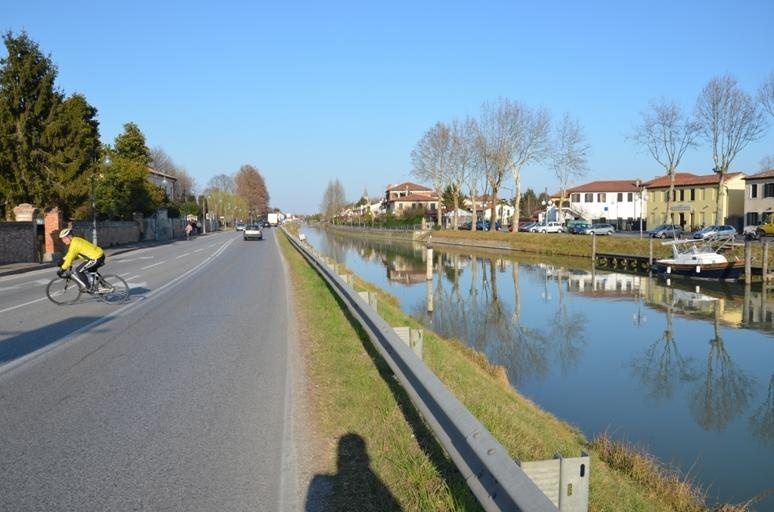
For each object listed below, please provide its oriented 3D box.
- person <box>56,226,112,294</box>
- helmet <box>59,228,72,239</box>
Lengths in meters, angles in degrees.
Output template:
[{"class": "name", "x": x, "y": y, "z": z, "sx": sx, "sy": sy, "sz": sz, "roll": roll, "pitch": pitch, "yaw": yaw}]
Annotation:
[{"class": "person", "x": -9.358, "y": 0.139, "z": 18.279, "sx": 1.176, "sy": 1.976, "sz": 0.883, "roll": -3, "pitch": 9, "yaw": -34}, {"class": "helmet", "x": -9.875, "y": -0.702, "z": 18.272, "sx": 0.253, "sy": 0.339, "sz": 0.502, "roll": -4, "pitch": 10, "yaw": -38}]
